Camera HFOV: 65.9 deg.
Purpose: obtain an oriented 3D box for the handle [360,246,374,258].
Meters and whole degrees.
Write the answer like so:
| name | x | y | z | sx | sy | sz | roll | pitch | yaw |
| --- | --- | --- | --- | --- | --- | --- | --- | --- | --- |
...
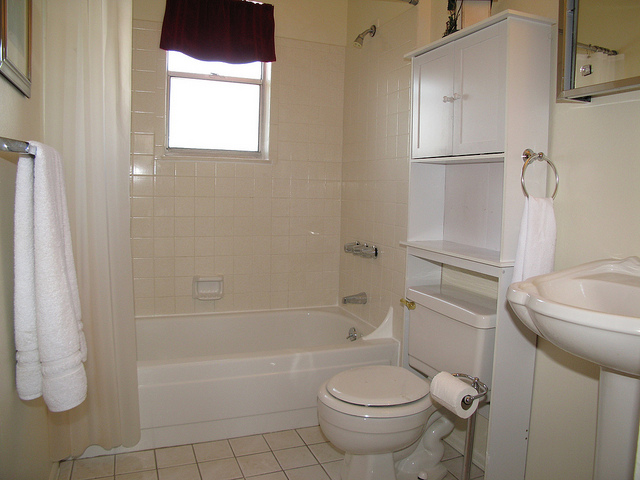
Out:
| name | x | y | z | sx | sy | sz | roll | pitch | yaw |
| --- | --- | --- | --- | --- | --- | --- | --- | --- | --- |
| handle | 0.330 | 0.085 | 3.454 | 0.048 | 0.076 | 0.126 | -7 | 16 | -34 |

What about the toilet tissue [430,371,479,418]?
| name | x | y | z | sx | sy | sz | roll | pitch | yaw |
| --- | --- | --- | --- | --- | --- | --- | --- | --- | --- |
| toilet tissue | 0.644 | 0.672 | 2.328 | 0.254 | 0.206 | 0.198 | 1 | 7 | -21 |

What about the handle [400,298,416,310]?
| name | x | y | z | sx | sy | sz | roll | pitch | yaw |
| --- | --- | --- | --- | --- | --- | --- | --- | --- | --- |
| handle | 0.516 | 0.370 | 2.872 | 0.038 | 0.049 | 0.074 | 22 | 0 | -35 |

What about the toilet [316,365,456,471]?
| name | x | y | z | sx | sy | sz | roll | pitch | yaw |
| --- | --- | --- | --- | --- | --- | --- | --- | --- | --- |
| toilet | 0.355 | 0.944 | 2.624 | 0.698 | 0.468 | 0.477 | -1 | 7 | -34 |

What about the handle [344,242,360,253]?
| name | x | y | z | sx | sy | sz | roll | pitch | yaw |
| --- | --- | --- | --- | --- | --- | --- | --- | --- | --- |
| handle | 0.235 | 0.054 | 3.578 | 0.089 | 0.068 | 0.073 | 0 | 14 | -3 |
